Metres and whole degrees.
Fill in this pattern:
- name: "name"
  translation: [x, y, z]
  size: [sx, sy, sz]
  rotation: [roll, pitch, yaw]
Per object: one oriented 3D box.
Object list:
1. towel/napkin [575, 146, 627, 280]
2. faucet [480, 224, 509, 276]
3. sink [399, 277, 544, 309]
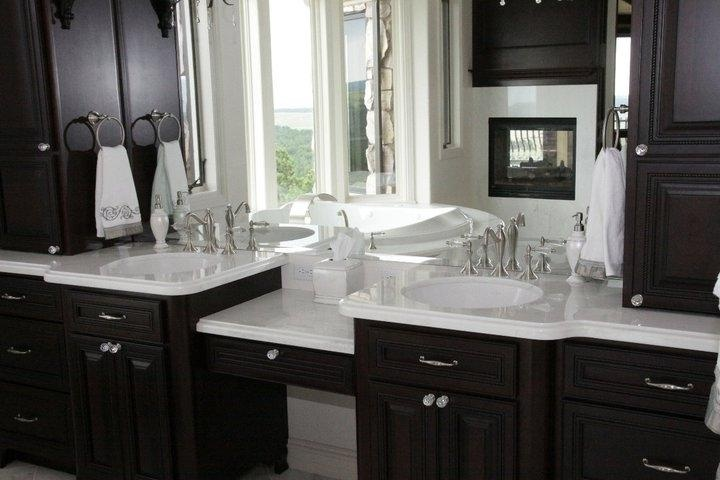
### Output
- name: "towel/napkin"
  translation: [1.009, -0.107, 2.172]
  size: [0.136, 0.518, 0.207]
  rotation: [-7, 11, -31]
- name: "faucet"
  translation: [0.621, 0.048, 2.474]
  size: [0.107, 0.223, 0.081]
  rotation: [1, 10, 11]
- name: "sink"
  translation: [0.475, 0.242, 2.340]
  size: [0.578, 0.127, 0.221]
  rotation: [0, 10, 7]
